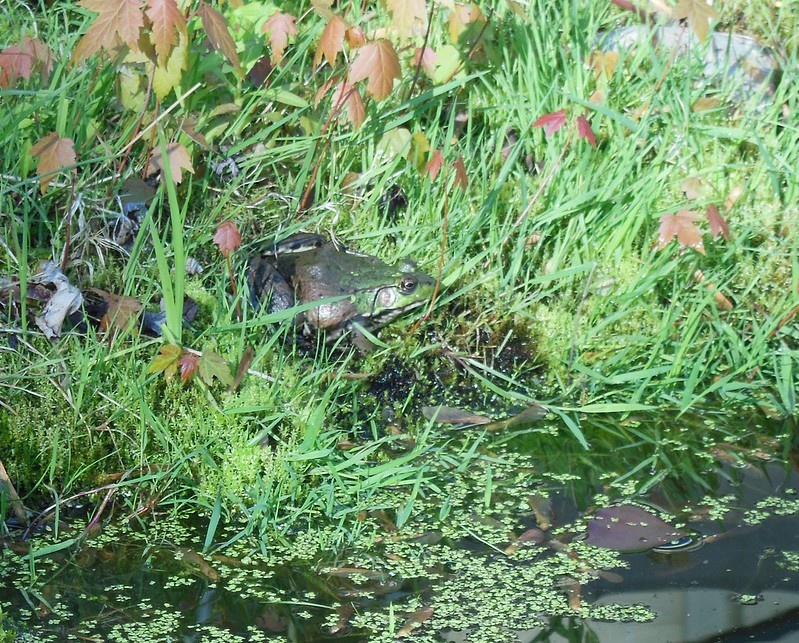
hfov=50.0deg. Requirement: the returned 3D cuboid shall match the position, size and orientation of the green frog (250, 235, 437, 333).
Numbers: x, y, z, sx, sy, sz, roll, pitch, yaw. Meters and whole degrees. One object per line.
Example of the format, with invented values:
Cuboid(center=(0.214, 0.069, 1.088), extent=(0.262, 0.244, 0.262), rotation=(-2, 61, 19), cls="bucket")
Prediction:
Cuboid(center=(-0.320, -0.137, 3.850), extent=(0.887, 0.263, 0.571), rotation=(2, 33, -22), cls="green frog")
